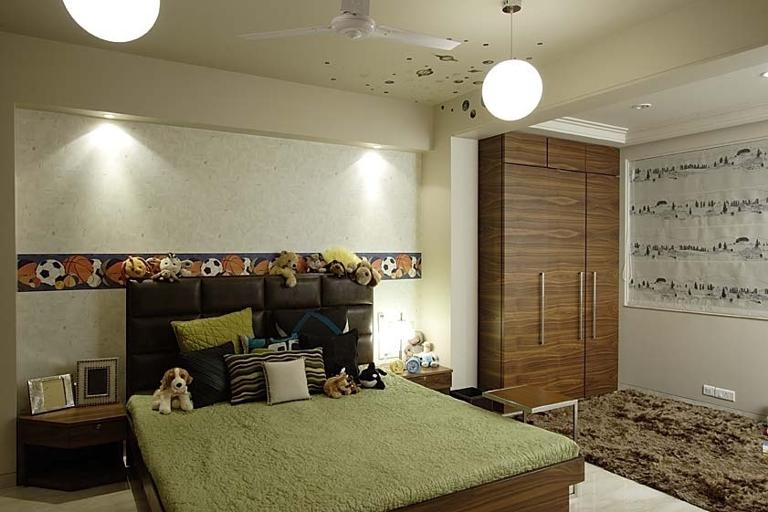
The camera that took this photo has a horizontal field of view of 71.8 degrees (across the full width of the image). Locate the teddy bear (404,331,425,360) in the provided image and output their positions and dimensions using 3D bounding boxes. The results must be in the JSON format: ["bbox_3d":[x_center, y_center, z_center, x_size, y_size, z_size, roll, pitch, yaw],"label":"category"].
[{"bbox_3d":[0.332,0.981,5.928,0.290,0.270,0.222,-3,-2,4],"label":"teddy bear"}]

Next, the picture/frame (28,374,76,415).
[{"bbox_3d":[-2.859,1.190,4.544,0.335,0.298,0.048,-7,-7,-37],"label":"picture/frame"}]

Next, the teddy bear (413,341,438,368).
[{"bbox_3d":[0.458,1.088,5.803,0.275,0.230,0.224,0,-2,-14],"label":"teddy bear"}]

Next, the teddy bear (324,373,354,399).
[{"bbox_3d":[-0.406,1.144,4.689,0.179,0.103,0.232,1,3,18],"label":"teddy bear"}]

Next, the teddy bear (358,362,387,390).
[{"bbox_3d":[-0.109,1.121,4.961,0.192,0.168,0.260,0,2,20],"label":"teddy bear"}]

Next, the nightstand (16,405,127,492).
[{"bbox_3d":[-2.626,1.629,4.559,0.915,0.637,0.402,0,10,4],"label":"nightstand"}]

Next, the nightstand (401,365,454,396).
[{"bbox_3d":[0.441,1.249,5.695,0.434,0.355,0.295,0,-2,-35],"label":"nightstand"}]

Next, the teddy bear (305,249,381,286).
[{"bbox_3d":[-0.429,0.093,5.532,0.514,0.190,0.496,17,4,21],"label":"teddy bear"}]

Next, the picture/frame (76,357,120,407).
[{"bbox_3d":[-2.533,1.107,4.666,0.461,0.517,0.043,-1,2,-28],"label":"picture/frame"}]

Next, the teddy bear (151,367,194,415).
[{"bbox_3d":[-1.779,1.103,4.478,0.319,0.317,0.467,3,0,-22],"label":"teddy bear"}]

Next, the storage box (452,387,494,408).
[{"bbox_3d":[0.936,1.513,5.715,0.256,0.315,0.349,1,-2,-30],"label":"storage box"}]
